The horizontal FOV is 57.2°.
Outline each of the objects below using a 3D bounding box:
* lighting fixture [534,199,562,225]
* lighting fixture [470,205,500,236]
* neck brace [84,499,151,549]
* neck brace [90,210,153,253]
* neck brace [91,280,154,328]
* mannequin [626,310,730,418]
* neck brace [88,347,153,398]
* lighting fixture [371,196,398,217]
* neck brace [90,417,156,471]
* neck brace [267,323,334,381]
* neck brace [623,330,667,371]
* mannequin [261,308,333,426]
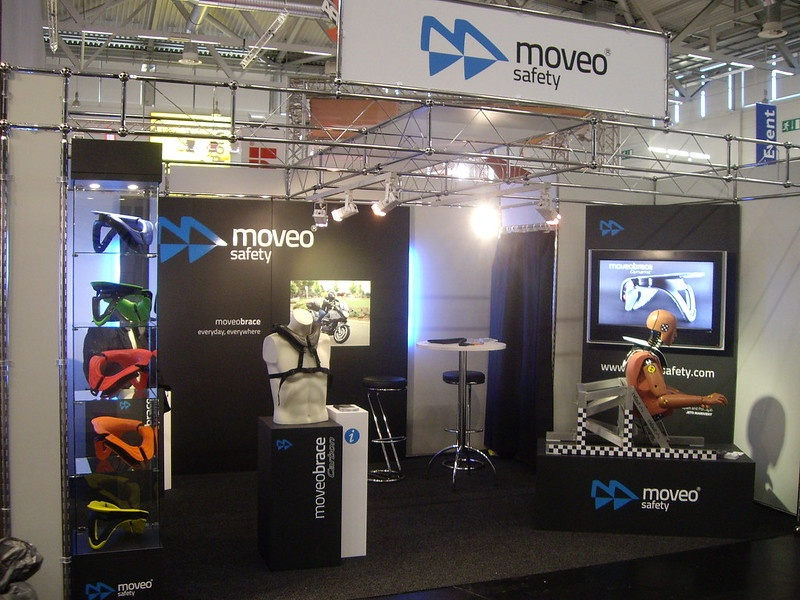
[{"bbox_3d":[1.704,-1.008,8.455,0.245,0.293,0.543,-1,4,16],"label":"lighting fixture"},{"bbox_3d":[1.131,-1.043,9.611,0.374,0.390,0.087,-13,13,-21],"label":"lighting fixture"},{"bbox_3d":[-2.087,1.633,5.395,0.360,0.293,0.423,5,-1,18],"label":"neck brace"},{"bbox_3d":[-2.002,-0.496,5.251,0.336,0.250,0.284,-3,8,-17],"label":"neck brace"},{"bbox_3d":[-1.990,0.030,5.273,0.372,0.294,0.290,0,3,-26],"label":"neck brace"},{"bbox_3d":[2.661,0.646,7.349,0.843,1.037,0.697,-1,4,11],"label":"mannequin"},{"bbox_3d":[-2.017,0.566,5.300,0.412,0.287,0.447,13,15,19],"label":"neck brace"},{"bbox_3d":[-0.140,-0.979,7.784,0.288,0.116,0.197,-10,33,52],"label":"lighting fixture"},{"bbox_3d":[-1.994,1.028,5.297,0.439,0.303,0.390,16,10,22],"label":"neck brace"},{"bbox_3d":[-0.836,0.436,6.376,0.441,0.502,0.349,-3,-2,-14],"label":"neck brace"},{"bbox_3d":[2.528,0.470,7.558,0.441,0.377,0.459,3,0,7],"label":"neck brace"},{"bbox_3d":[-0.882,0.569,6.317,0.550,0.965,0.314,-2,4,-9],"label":"mannequin"}]
